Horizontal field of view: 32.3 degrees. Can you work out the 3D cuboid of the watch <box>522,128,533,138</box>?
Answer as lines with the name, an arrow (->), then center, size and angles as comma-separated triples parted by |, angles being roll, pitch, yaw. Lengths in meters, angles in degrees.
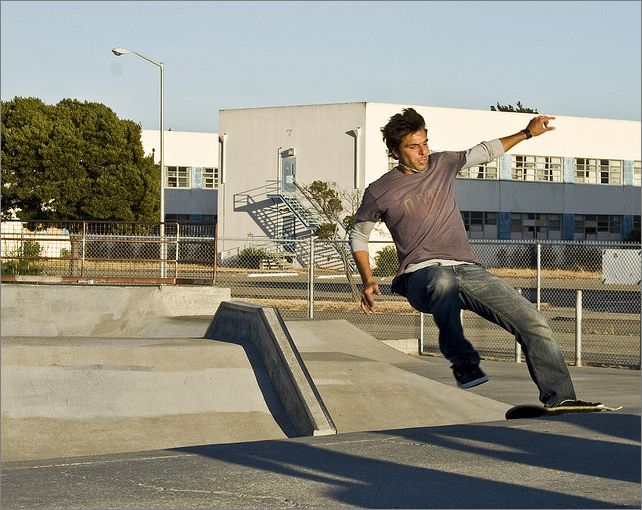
watch -> 2.128, -1.269, 11.496 | 0.068, 0.113, 0.100 | -30, 19, -16

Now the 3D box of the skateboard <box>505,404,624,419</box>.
skateboard -> 2.425, 1.557, 11.093 | 0.715, 0.110, 0.228 | 0, -4, -10
